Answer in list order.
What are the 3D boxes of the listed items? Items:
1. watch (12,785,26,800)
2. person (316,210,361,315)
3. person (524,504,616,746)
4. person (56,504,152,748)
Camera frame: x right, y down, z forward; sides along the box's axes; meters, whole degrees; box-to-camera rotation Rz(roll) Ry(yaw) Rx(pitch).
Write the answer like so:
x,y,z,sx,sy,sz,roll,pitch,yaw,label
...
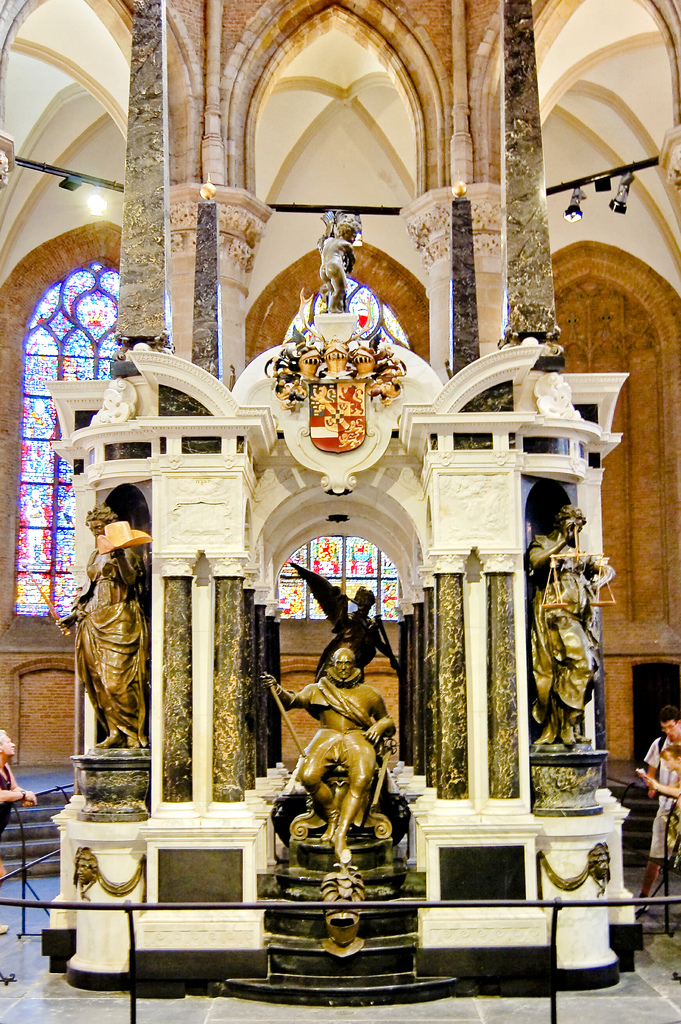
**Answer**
x,y,z,sx,sy,sz,roll,pitch,yaw,label
-2.324,2.051,11.170,0.098,0.036,0.096,23,-1,-34,watch
-0.011,-1.903,11.652,0.306,1.012,0.743,0,-9,-1,person
1.579,0.792,10.623,0.564,1.667,0.333,0,-10,0,person
-1.612,0.921,10.637,0.530,1.443,0.349,-4,-11,26,person
